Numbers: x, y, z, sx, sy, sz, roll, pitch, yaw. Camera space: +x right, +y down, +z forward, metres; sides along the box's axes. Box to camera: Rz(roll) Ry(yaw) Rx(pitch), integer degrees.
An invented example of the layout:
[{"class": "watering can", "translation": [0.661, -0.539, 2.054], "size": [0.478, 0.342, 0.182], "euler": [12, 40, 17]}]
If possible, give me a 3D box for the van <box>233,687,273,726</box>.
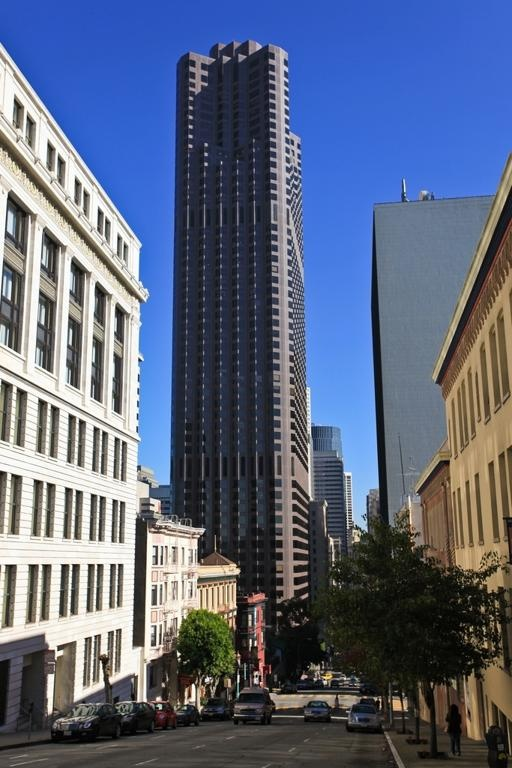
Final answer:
[{"class": "van", "translation": [-0.100, 16.172, 35.673], "size": [1.217, 1.297, 2.590], "euler": [-3, -37, 3]}]
